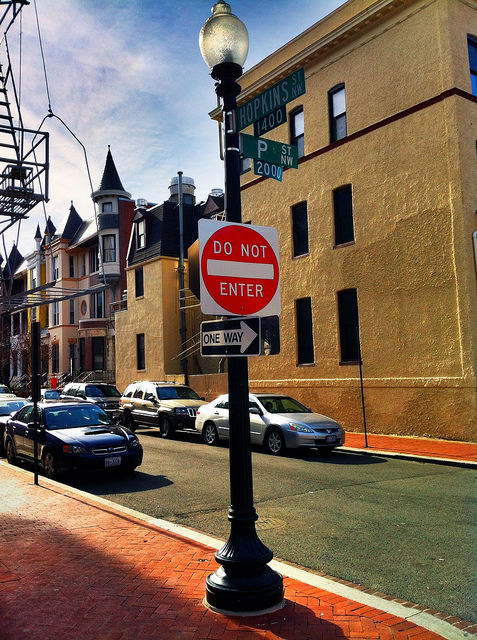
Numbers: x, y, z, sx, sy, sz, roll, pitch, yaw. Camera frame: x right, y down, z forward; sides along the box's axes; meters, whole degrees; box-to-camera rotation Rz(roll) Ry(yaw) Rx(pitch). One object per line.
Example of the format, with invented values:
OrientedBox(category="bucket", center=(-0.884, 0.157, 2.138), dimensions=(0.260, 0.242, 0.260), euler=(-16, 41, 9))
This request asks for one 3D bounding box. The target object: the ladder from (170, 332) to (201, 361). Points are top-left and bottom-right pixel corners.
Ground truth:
OrientedBox(category="ladder", center=(-2.181, 1.027, 28.444), dimensions=(0.056, 0.641, 1.571), euler=(14, 41, 39))

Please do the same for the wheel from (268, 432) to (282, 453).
OrientedBox(category="wheel", center=(0.772, 2.598, 13.734), dimensions=(0.095, 0.416, 0.427), euler=(0, -8, -26))

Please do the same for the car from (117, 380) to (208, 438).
OrientedBox(category="car", center=(-2.078, 2.594, 19.198), dimensions=(1.323, 1.363, 2.767), euler=(4, -10, -32))

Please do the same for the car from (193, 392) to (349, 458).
OrientedBox(category="car", center=(0.736, 2.385, 14.964), dimensions=(3.188, 1.497, 3.797), euler=(-2, -8, -9))

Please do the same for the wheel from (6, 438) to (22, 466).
OrientedBox(category="wheel", center=(-4.577, 2.653, 13.060), dimensions=(0.188, 0.649, 0.582), euler=(-1, 4, -30))

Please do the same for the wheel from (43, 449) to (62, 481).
OrientedBox(category="wheel", center=(-3.154, 2.433, 10.888), dimensions=(0.152, 0.536, 0.483), euler=(6, 3, -30))

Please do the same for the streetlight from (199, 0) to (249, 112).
OrientedBox(category="streetlight", center=(-0.112, -2.155, 5.148), dimensions=(0.380, 0.938, 0.378), euler=(-3, -7, -2))

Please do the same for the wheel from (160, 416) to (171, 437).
OrientedBox(category="wheel", center=(-2.049, 2.959, 18.052), dimensions=(0.158, 0.508, 0.467), euler=(3, -18, -26))
